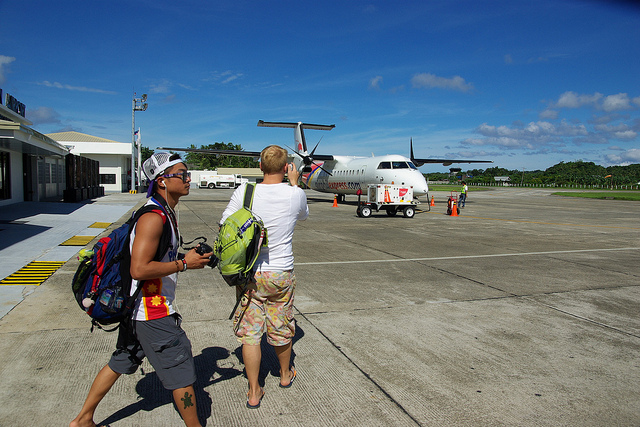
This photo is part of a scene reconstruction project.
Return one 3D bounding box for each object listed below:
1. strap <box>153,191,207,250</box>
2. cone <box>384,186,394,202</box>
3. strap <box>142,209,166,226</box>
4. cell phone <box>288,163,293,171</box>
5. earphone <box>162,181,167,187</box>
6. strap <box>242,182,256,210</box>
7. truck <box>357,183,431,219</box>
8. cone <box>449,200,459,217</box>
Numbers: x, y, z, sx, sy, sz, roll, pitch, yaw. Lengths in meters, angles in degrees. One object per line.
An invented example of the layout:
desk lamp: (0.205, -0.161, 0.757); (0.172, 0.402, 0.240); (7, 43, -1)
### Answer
strap: (-1.258, 0.072, 3.016); (0.149, 0.551, 0.348); (-20, 13, 1)
cone: (3.744, -1.092, 18.846); (0.349, 0.857, 0.138); (1, 11, -5)
strap: (-1.348, 0.025, 2.782); (0.125, 0.103, 0.120); (14, 10, 14)
cell phone: (-0.288, -0.491, 3.527); (0.015, 0.059, 0.064); (-6, -15, -42)
earphone: (-1.373, -0.267, 3.018); (0.013, 0.053, 0.017); (-36, -3, 32)
strap: (-0.729, -0.184, 3.512); (0.114, 0.258, 0.156); (0, 10, -5)
truck: (3.981, -0.779, 19.677); (4.011, 1.835, 2.155); (-1, 4, -9)
cone: (7.968, -0.315, 20.131); (0.483, 0.900, 0.576); (5, 11, 19)
